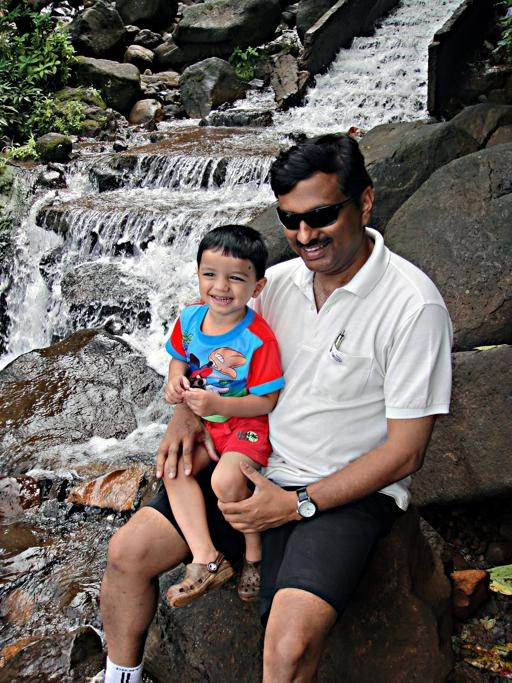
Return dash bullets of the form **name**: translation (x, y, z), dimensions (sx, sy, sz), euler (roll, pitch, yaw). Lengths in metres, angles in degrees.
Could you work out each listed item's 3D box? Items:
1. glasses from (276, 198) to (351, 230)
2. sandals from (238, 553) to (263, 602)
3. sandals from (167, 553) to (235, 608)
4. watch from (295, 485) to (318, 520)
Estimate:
- **glasses**: translation (0.183, -0.420, 1.945), dimensions (0.252, 0.077, 0.089), euler (-1, 29, 21)
- **sandals**: translation (-0.018, 0.818, 2.015), dimensions (0.074, 0.062, 0.159), euler (0, 15, 6)
- **sandals**: translation (-0.175, 0.755, 1.923), dimensions (0.275, 0.099, 0.109), euler (-15, 55, -31)
- **watch**: translation (0.156, 0.518, 1.853), dimensions (0.062, 0.090, 0.074), euler (-18, 28, -7)
